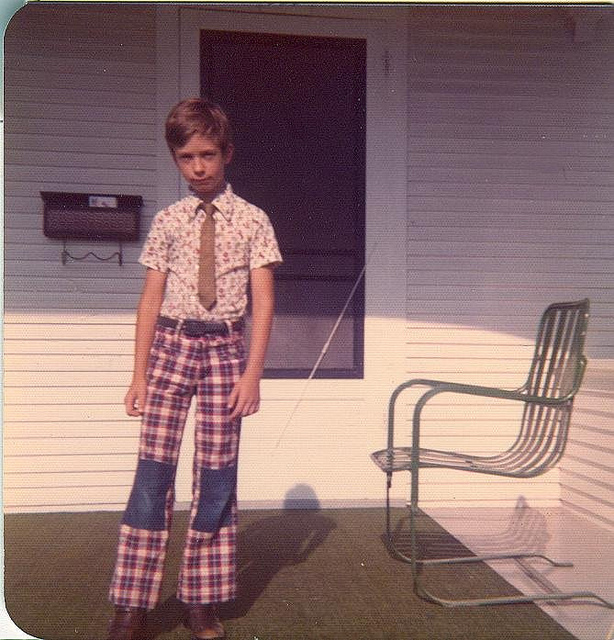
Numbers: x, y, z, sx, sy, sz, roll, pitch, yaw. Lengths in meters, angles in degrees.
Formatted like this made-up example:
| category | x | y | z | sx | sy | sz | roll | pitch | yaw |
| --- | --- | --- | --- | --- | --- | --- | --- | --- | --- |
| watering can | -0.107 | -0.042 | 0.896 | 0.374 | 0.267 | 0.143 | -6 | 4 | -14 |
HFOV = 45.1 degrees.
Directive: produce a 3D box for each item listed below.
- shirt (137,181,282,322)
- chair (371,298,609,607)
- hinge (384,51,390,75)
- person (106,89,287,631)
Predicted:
| category | x | y | z | sx | sy | sz | roll | pitch | yaw |
| --- | --- | --- | --- | --- | --- | --- | --- | --- | --- |
| shirt | -0.372 | -0.266 | 3.006 | 0.790 | 0.564 | 0.246 | 0 | -6 | -7 |
| chair | 0.748 | 0.529 | 3.453 | 0.814 | 1.339 | 0.840 | 4 | 0 | -6 |
| hinge | 0.339 | -1.104 | 3.164 | 0.027 | 0.096 | 0.007 | 4 | 10 | -4 |
| person | -0.440 | 0.192 | 3.040 | 0.637 | 2.211 | 0.532 | 5 | 10 | -2 |
